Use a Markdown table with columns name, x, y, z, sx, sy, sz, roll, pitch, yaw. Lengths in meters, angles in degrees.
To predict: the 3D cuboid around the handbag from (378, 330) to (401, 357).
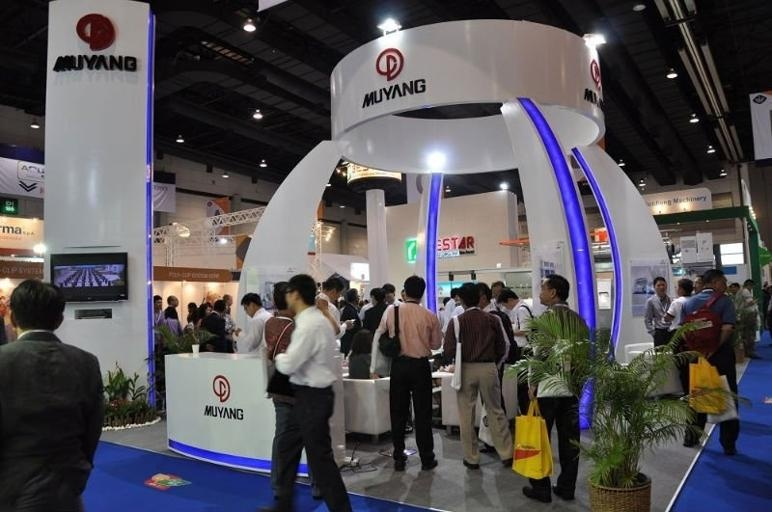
| name | x | y | z | sx | sy | sz | roll | pitch | yaw |
| --- | --- | --- | --- | --- | --- | --- | --- | --- | --- |
| handbag | 0.044 | 0.847 | 5.282 | 0.203 | 0.245 | 0.227 | -8 | -18 | 33 |

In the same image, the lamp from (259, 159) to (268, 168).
| name | x | y | z | sx | sy | sz | roll | pitch | yaw |
| --- | --- | --- | --- | --- | --- | --- | --- | --- | --- |
| lamp | -4.541 | -3.450 | 20.146 | 0.232 | 0.165 | 0.246 | 0 | -3 | 9 |

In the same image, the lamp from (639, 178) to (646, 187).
| name | x | y | z | sx | sy | sz | roll | pitch | yaw |
| --- | --- | --- | --- | --- | --- | --- | --- | --- | --- |
| lamp | 10.430 | -3.025 | 22.244 | 0.225 | 0.241 | 0.404 | -1 | -5 | 27 |

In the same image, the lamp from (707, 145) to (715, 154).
| name | x | y | z | sx | sy | sz | roll | pitch | yaw |
| --- | --- | --- | --- | --- | --- | --- | --- | --- | --- |
| lamp | 10.727 | -3.562 | 18.105 | 0.265 | 0.304 | 0.266 | -10 | 10 | -30 |

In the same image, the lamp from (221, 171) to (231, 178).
| name | x | y | z | sx | sy | sz | roll | pitch | yaw |
| --- | --- | --- | --- | --- | --- | --- | --- | --- | --- |
| lamp | -6.034 | -3.114 | 20.541 | 0.185 | 0.215 | 0.192 | 4 | -9 | -15 |

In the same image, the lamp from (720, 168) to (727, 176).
| name | x | y | z | sx | sy | sz | roll | pitch | yaw |
| --- | --- | --- | --- | --- | --- | --- | --- | --- | --- |
| lamp | 12.715 | -3.176 | 20.571 | 0.248 | 0.271 | 0.227 | -3 | 3 | -32 |

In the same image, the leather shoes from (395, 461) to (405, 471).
| name | x | y | z | sx | sy | sz | roll | pitch | yaw |
| --- | --- | --- | --- | --- | --- | --- | --- | --- | --- |
| leather shoes | 0.131 | 2.021 | 5.280 | 0.063 | 0.077 | 0.115 | 2 | 1 | 11 |

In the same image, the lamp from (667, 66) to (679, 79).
| name | x | y | z | sx | sy | sz | roll | pitch | yaw |
| --- | --- | --- | --- | --- | --- | --- | --- | --- | --- |
| lamp | 6.546 | -4.241 | 12.519 | 0.248 | 0.268 | 0.224 | -11 | 10 | -43 |

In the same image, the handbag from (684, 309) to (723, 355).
| name | x | y | z | sx | sy | sz | roll | pitch | yaw |
| --- | --- | --- | --- | --- | --- | --- | --- | --- | --- |
| handbag | 3.119 | 0.768 | 5.343 | 0.247 | 0.481 | 0.336 | 19 | -26 | -31 |

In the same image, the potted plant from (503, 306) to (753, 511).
| name | x | y | z | sx | sy | sz | roll | pitch | yaw |
| --- | --- | --- | --- | --- | --- | --- | --- | --- | --- |
| potted plant | 1.745 | 1.097 | 4.368 | 1.170 | 1.352 | 0.666 | -2 | -5 | 29 |

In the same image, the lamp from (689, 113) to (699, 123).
| name | x | y | z | sx | sy | sz | roll | pitch | yaw |
| --- | --- | --- | --- | --- | --- | --- | --- | --- | --- |
| lamp | 8.620 | -3.859 | 15.323 | 0.288 | 0.338 | 0.076 | 20 | -33 | -10 |
